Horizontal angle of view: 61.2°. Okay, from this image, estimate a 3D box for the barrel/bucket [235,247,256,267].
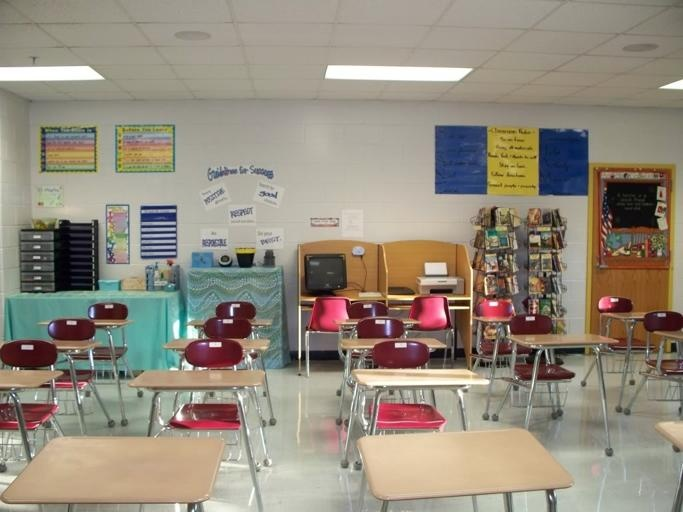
[{"bbox_3d":[-1.245,0.011,7.514,0.251,0.209,0.244,1,2,0],"label":"barrel/bucket"}]

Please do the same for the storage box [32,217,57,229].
[{"bbox_3d":[-3.866,-0.427,7.515,0.197,0.071,0.201,-2,-3,39],"label":"storage box"}]

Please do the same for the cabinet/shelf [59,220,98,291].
[{"bbox_3d":[-3.435,-0.021,7.528,0.445,0.901,0.170,-2,4,-14],"label":"cabinet/shelf"}]

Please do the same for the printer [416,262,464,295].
[{"bbox_3d":[1.295,0.277,7.592,0.585,0.394,0.527,-1,3,3],"label":"printer"}]

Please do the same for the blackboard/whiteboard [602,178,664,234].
[{"bbox_3d":[4.076,-0.737,8.116,0.812,0.672,0.084,-1,2,-3],"label":"blackboard/whiteboard"}]

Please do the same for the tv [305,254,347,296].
[{"bbox_3d":[-0.227,0.229,7.576,0.563,0.517,0.304,0,1,-11],"label":"tv"}]

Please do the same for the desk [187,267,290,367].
[{"bbox_3d":[-1.176,0.642,6.429,1.311,1.205,0.415,0,1,-2],"label":"desk"}]

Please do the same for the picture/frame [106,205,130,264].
[{"bbox_3d":[-2.983,-0.300,7.671,0.299,0.780,0.075,-1,4,6],"label":"picture/frame"}]

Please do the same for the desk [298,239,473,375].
[{"bbox_3d":[0.536,0.522,7.485,2.183,1.461,0.697,-1,3,-7],"label":"desk"}]

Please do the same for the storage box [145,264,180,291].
[{"bbox_3d":[-2.364,0.255,7.574,0.442,0.360,0.289,-2,4,-12],"label":"storage box"}]

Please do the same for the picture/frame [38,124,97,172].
[{"bbox_3d":[-3.598,-1.421,7.606,0.739,0.616,0.031,0,1,-1],"label":"picture/frame"}]

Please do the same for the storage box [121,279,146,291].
[{"bbox_3d":[-2.752,0.352,7.602,0.297,0.165,0.191,1,4,29],"label":"storage box"}]

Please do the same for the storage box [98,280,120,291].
[{"bbox_3d":[-3.051,0.370,7.547,0.293,0.127,0.145,-1,3,-12],"label":"storage box"}]

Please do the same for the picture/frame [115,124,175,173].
[{"bbox_3d":[-2.603,-1.437,7.634,0.804,0.643,0.016,0,1,2],"label":"picture/frame"}]
